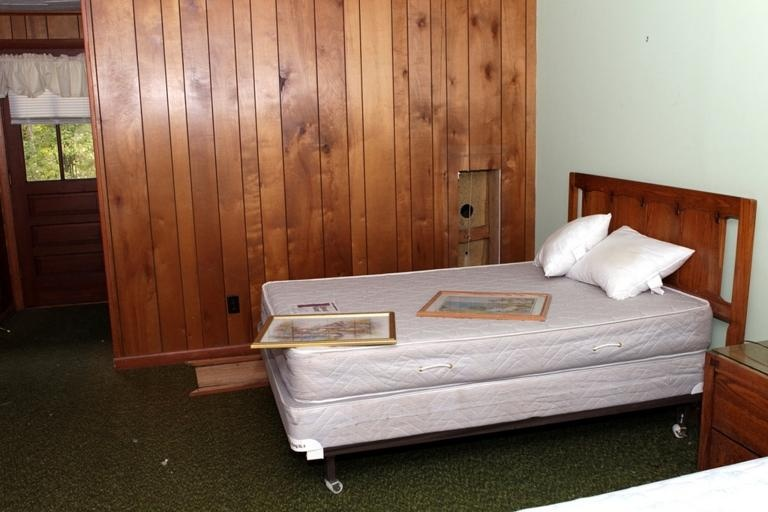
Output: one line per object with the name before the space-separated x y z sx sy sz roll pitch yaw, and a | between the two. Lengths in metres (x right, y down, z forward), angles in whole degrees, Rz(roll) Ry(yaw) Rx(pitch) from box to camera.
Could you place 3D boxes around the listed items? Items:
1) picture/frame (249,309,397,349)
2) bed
picture/frame | -0.300 0.396 2.968 0.725 0.062 0.421 -3 16 -2
bed | 0.623 0.366 3.516 2.588 1.263 1.675 -6 21 -12
